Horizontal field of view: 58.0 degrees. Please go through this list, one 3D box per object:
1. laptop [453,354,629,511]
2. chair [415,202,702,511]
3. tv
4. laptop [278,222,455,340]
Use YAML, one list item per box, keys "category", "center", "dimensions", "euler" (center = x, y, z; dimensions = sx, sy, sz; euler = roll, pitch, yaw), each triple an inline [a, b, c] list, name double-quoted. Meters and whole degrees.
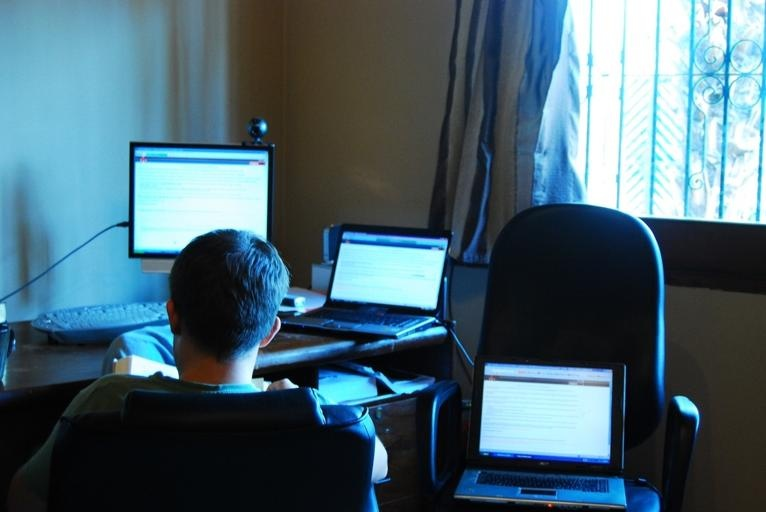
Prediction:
- category: "laptop"
  center: [0.527, 0.475, 2.220]
  dimensions: [0.486, 0.344, 0.428]
  euler: [2, -1, 11]
- category: "chair"
  center: [0.659, 0.336, 2.574]
  dimensions: [0.842, 1.155, 0.971]
  euler: [4, -5, 14]
- category: "tv"
  center: [-0.696, -0.214, 2.605]
  dimensions: [0.454, 0.381, 0.048]
  euler: [1, -1, -11]
- category: "laptop"
  center: [-0.011, 0.080, 2.601]
  dimensions: [0.476, 0.370, 0.439]
  euler: [2, -1, 27]
